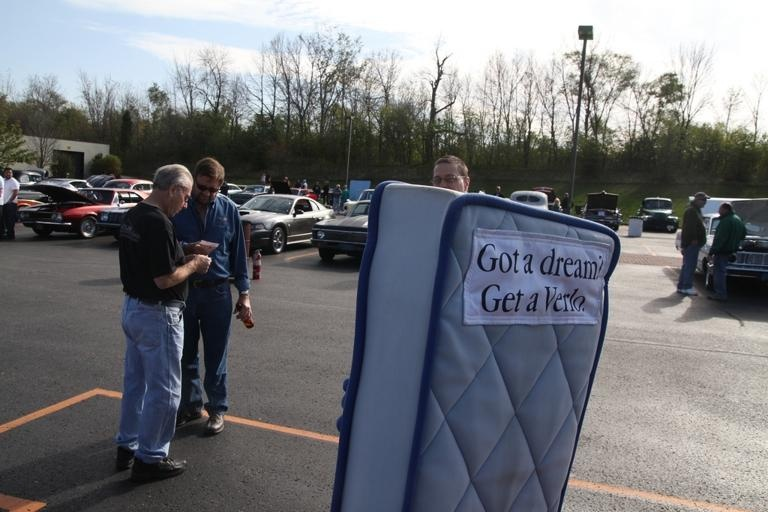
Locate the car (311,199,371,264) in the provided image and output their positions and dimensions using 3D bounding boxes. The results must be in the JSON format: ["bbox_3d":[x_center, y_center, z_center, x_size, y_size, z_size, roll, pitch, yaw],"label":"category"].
[{"bbox_3d":[-0.621,-0.665,14.916,1.200,1.082,2.108,6,9,32],"label":"car"}]

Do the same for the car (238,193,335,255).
[{"bbox_3d":[-2.975,-0.979,16.259,1.368,0.964,2.441,7,7,29],"label":"car"}]

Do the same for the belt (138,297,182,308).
[{"bbox_3d":[-1.872,0.410,4.891,0.348,0.115,0.091,-5,15,-24],"label":"belt"}]

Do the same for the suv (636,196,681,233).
[{"bbox_3d":[14.995,-2.236,31.923,1.880,2.011,3.717,1,4,21],"label":"suv"}]

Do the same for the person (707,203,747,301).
[{"bbox_3d":[6.925,-0.093,11.779,0.525,2.017,0.730,11,16,35],"label":"person"}]

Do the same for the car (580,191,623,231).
[{"bbox_3d":[11.379,-2.076,30.385,1.549,2.033,3.215,3,0,21],"label":"car"}]

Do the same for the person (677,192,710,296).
[{"bbox_3d":[6.606,-0.270,12.458,0.481,2.223,1.319,8,15,27],"label":"person"}]

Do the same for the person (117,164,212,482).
[{"bbox_3d":[-1.943,0.719,4.955,0.774,2.310,0.538,-2,13,-15],"label":"person"}]
